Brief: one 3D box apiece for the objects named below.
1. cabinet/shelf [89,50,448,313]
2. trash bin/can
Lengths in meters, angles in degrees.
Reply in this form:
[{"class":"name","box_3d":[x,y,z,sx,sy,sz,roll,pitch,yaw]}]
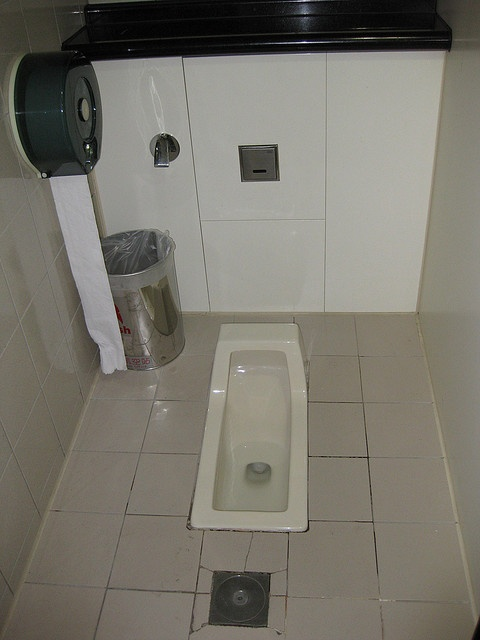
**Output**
[{"class":"cabinet/shelf","box_3d":[0.151,-0.656,1.977,1.215,1.260,0.493,4,55,15]},{"class":"trash bin/can","box_3d":[-0.386,-0.069,1.748,0.285,0.451,0.268,-23,38,-28]}]
